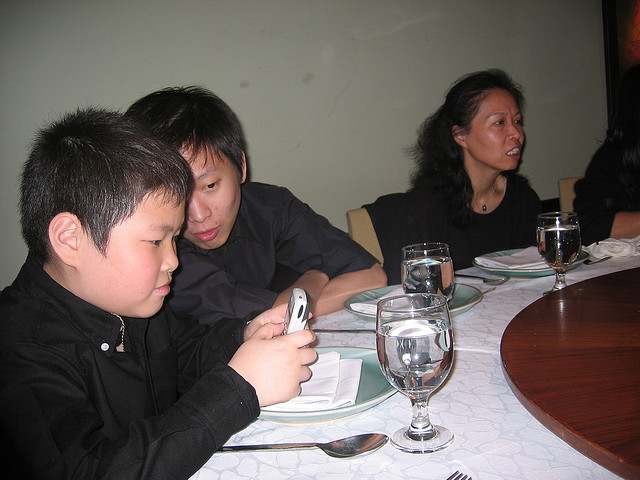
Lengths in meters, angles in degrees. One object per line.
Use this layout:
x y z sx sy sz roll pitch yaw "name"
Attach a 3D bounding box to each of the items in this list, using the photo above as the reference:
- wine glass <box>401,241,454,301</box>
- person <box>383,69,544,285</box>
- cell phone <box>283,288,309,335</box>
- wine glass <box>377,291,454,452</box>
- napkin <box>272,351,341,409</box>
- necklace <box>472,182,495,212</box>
0.253 0.078 1.229 0.143 0.138 0.140 -2 -5 3 "wine glass"
0.725 -0.307 2.382 0.966 0.921 0.475 -13 16 -28 "person"
-0.047 0.146 0.993 0.029 0.049 0.118 -3 -40 -16 "cell phone"
0.161 0.208 0.807 0.154 0.225 0.110 -15 7 -31 "wine glass"
-0.005 0.266 0.941 0.073 0.015 0.109 0 31 18 "napkin"
0.759 -0.200 2.284 0.123 0.119 0.034 -9 -10 0 "necklace"
